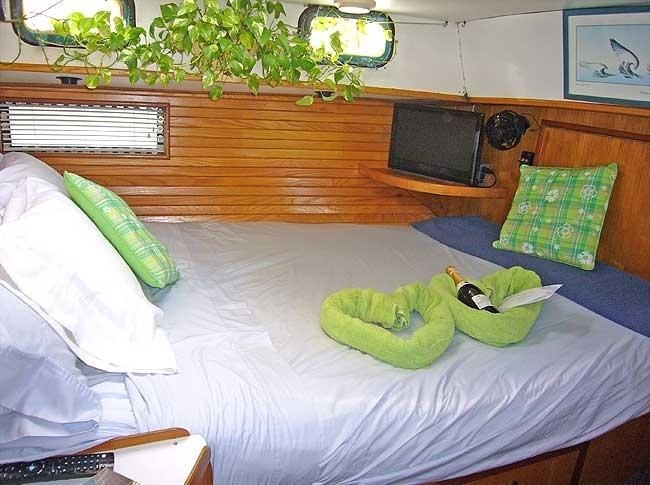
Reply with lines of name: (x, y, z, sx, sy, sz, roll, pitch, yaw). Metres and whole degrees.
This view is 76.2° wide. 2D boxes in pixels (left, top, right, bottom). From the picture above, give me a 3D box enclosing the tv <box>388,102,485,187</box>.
tv: (0.792, -0.677, 2.919, 0.074, 0.438, 0.630, -14, 23, -42)
